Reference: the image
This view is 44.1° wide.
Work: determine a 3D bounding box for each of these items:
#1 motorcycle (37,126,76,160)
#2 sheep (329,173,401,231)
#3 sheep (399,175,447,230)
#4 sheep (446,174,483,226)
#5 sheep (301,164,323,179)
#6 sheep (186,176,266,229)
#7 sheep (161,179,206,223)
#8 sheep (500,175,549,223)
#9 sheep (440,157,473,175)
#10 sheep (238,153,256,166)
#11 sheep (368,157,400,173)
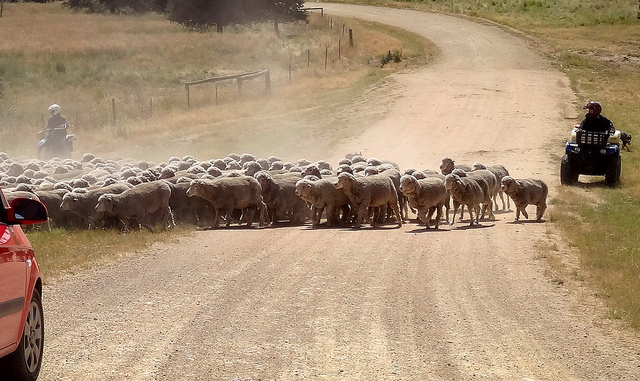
[{"bbox_3d":[-14.348,-2.540,44.005,2.483,1.445,1.667,-4,8,-39],"label":"motorcycle"},{"bbox_3d":[1.901,0.140,33.489,4.425,2.342,1.391,3,-2,-24],"label":"sheep"},{"bbox_3d":[4.194,0.456,32.459,1.467,2.074,3.292,3,1,37],"label":"sheep"},{"bbox_3d":[6.012,0.398,32.539,1.482,2.259,1.199,3,15,11],"label":"sheep"},{"bbox_3d":[-0.323,-0.818,34.532,0.861,0.594,0.503,6,-5,9],"label":"sheep"},{"bbox_3d":[-3.936,0.513,33.026,3.404,1.978,1.047,-1,4,-32],"label":"sheep"},{"bbox_3d":[-5.729,0.603,33.094,2.811,2.072,0.973,0,1,13],"label":"sheep"},{"bbox_3d":[8.846,0.276,33.291,1.605,2.090,3.396,2,1,30],"label":"sheep"},{"bbox_3d":[6.492,-1.147,36.412,1.882,0.893,0.641,-6,-3,-28],"label":"sheep"},{"bbox_3d":[-3.686,-1.544,39.295,0.546,0.622,0.561,22,-8,-36],"label":"sheep"},{"bbox_3d":[2.956,-1.322,37.014,1.848,0.772,0.651,6,-12,-34],"label":"sheep"}]
